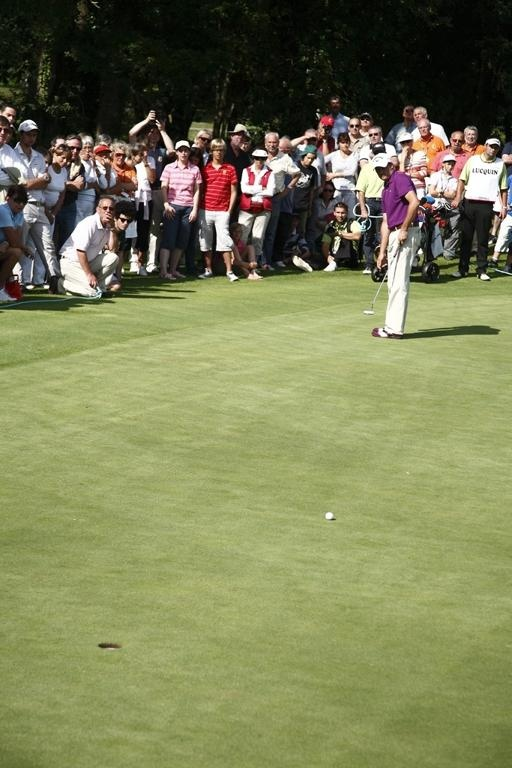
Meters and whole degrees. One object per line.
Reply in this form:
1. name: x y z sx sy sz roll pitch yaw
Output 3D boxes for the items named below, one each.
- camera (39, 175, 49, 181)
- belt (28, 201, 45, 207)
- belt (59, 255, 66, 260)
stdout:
1. camera: -3.083 -2.992 11.857 0.149 0.119 0.183 1 11 -15
2. belt: -3.242 -2.657 12.041 0.079 0.085 0.299 8 11 22
3. belt: -2.901 -1.922 12.334 0.091 0.091 0.427 1 10 -13
